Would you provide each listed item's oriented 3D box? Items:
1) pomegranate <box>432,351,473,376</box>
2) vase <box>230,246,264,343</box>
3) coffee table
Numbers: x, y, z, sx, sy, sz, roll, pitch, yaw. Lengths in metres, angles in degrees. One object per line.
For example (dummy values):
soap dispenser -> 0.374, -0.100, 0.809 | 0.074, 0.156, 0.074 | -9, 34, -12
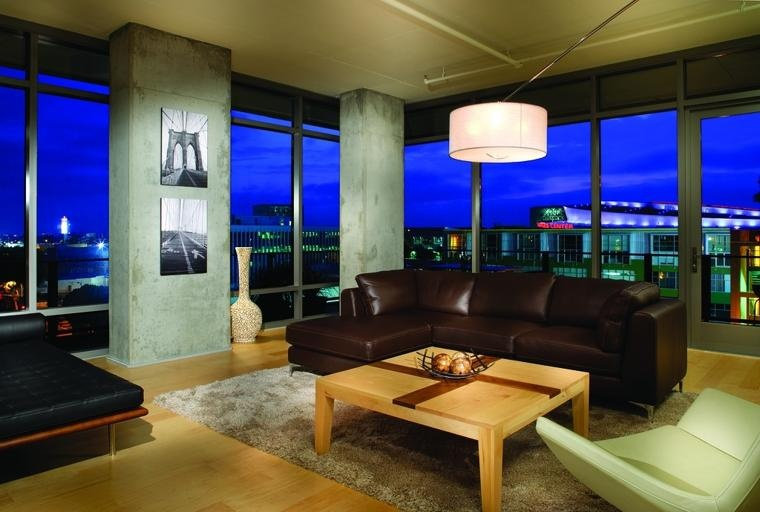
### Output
pomegranate -> 0.546, 0.829, 4.127 | 0.256, 0.102, 0.153 | 2, 7, 15
vase -> -1.761, 0.504, 6.948 | 0.394, 1.208, 0.453 | -3, 12, -14
coffee table -> 0.700, 1.053, 3.986 | 1.221, 0.431, 1.224 | 1, 0, 43
